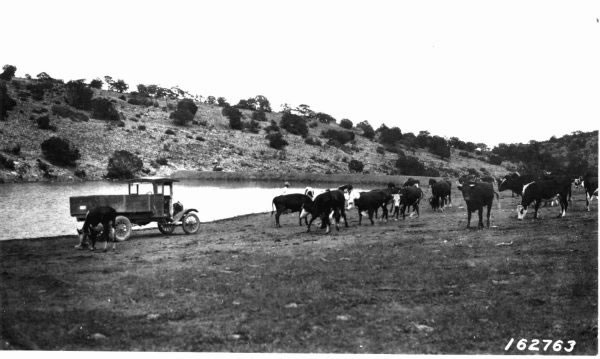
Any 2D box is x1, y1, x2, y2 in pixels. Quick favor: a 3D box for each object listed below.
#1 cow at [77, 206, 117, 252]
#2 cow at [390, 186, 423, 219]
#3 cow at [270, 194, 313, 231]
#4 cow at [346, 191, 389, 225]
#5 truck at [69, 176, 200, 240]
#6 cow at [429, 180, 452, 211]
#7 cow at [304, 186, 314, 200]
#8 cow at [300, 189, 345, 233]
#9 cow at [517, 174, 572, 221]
[{"bbox_3d":[-11.011,2.735,29.521,2.750,2.237,0.757,-14,-5,25],"label":"cow"},{"bbox_3d":[7.550,1.282,36.534,1.023,1.850,3.403,-6,-7,41],"label":"cow"},{"bbox_3d":[-0.458,2.005,35.333,2.534,1.958,3.135,-2,7,-6],"label":"cow"},{"bbox_3d":[4.382,1.810,34.511,3.917,2.289,1.173,1,-10,-42],"label":"cow"},{"bbox_3d":[-9.781,1.787,32.982,3.434,3.377,6.958,-3,-2,39],"label":"truck"},{"bbox_3d":[10.200,1.096,38.761,1.269,1.998,2.943,1,7,20],"label":"cow"},{"bbox_3d":[0.735,0.936,41.372,0.669,1.128,0.695,-10,-9,13],"label":"cow"},{"bbox_3d":[1.868,1.695,33.651,1.263,2.697,4.305,7,8,29],"label":"cow"},{"bbox_3d":[15.278,1.173,33.589,4.560,2.898,2.181,0,0,-32],"label":"cow"}]
